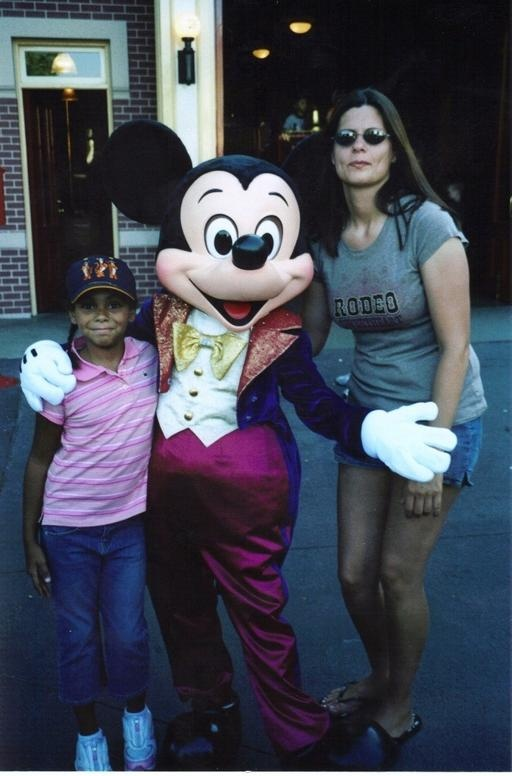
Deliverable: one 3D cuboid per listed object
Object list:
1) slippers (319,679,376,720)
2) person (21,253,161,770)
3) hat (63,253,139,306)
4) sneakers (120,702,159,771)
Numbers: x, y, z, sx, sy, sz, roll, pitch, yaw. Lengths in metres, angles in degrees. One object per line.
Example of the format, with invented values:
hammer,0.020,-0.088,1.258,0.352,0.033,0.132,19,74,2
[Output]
slippers,0.269,0.905,2.119,0.154,0.082,0.075,-2,9,17
person,-0.385,0.339,1.826,0.384,1.303,0.404,-8,19,-19
hat,-0.371,-0.258,1.739,0.182,0.113,0.271,-4,7,-13
sneakers,-0.294,0.898,1.834,0.072,0.179,0.083,-3,8,-6
